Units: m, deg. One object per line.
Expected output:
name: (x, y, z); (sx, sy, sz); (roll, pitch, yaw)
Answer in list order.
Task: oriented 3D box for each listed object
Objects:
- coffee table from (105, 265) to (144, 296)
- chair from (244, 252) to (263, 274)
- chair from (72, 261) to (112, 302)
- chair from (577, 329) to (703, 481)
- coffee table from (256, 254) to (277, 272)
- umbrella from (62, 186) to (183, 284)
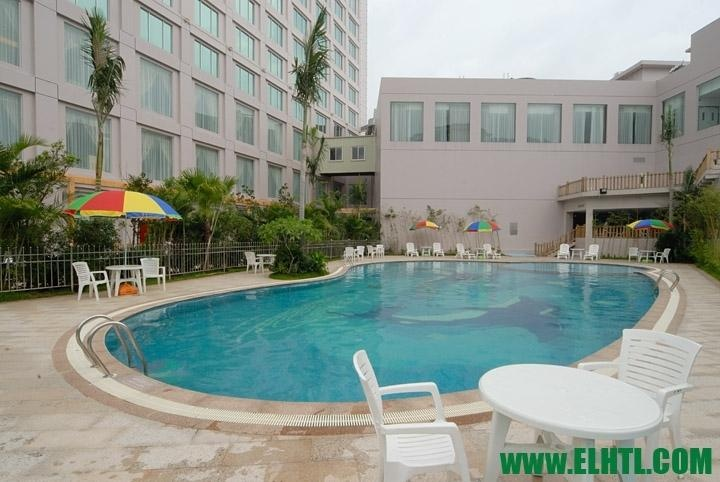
coffee table: (-7.703, 1.246, 16.082); (1.079, 0.816, 1.113); (-4, 3, 22)
chair: (-4.881, 0.936, 22.425); (0.651, 0.935, 2.375); (-2, -1, -15)
chair: (-8.083, 1.166, 14.711); (0.761, 0.994, 0.748); (2, 5, 1)
chair: (4.938, 2.550, 8.215); (1.789, 2.572, 1.996); (4, -4, -32)
coffee table: (-4.382, 0.938, 22.866); (0.924, 0.921, 0.948); (-1, 0, 18)
umbrella: (-8.317, -0.160, 17.110); (3.530, 2.266, 3.537); (2, 3, 6)
